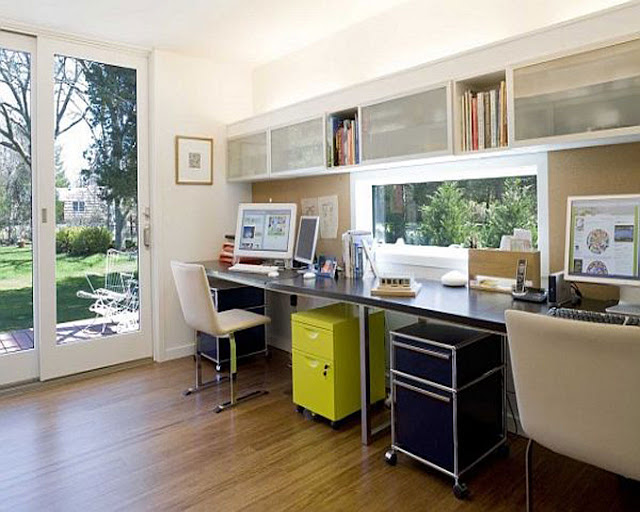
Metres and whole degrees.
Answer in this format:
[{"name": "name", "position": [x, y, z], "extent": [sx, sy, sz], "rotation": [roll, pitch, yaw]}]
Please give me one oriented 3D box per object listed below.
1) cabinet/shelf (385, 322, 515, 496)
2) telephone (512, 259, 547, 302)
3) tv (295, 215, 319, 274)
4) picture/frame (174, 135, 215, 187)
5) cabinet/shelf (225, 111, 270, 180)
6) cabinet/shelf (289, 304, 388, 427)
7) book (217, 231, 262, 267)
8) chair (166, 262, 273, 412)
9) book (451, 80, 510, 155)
[{"name": "cabinet/shelf", "position": [0.690, 0.681, 2.839], "extent": [0.742, 1.046, 0.712], "rotation": [2, 4, 43]}, {"name": "telephone", "position": [1.199, 0.137, 2.638], "extent": [0.184, 0.266, 0.210], "rotation": [2, 0, 44]}, {"name": "tv", "position": [-0.100, -0.080, 3.865], "extent": [0.031, 0.461, 0.381], "rotation": [6, 5, -28]}, {"name": "picture/frame", "position": [-1.138, -0.854, 4.305], "extent": [0.403, 0.517, 0.032], "rotation": [-10, 14, -43]}, {"name": "cabinet/shelf", "position": [-0.641, -0.958, 4.276], "extent": [0.214, 0.578, 0.605], "rotation": [2, 1, -41]}, {"name": "cabinet/shelf", "position": [0.094, 0.716, 3.285], "extent": [0.448, 0.685, 0.526], "rotation": [3, 6, 32]}, {"name": "book", "position": [-0.739, -0.064, 4.342], "extent": [0.310, 0.217, 0.305], "rotation": [1, 1, -36]}, {"name": "chair", "position": [-0.723, 0.550, 3.527], "extent": [0.514, 1.008, 0.615], "rotation": [4, 10, 25]}, {"name": "book", "position": [0.929, -0.761, 2.890], "extent": [0.349, 0.543, 0.345], "rotation": [2, 4, 42]}]
